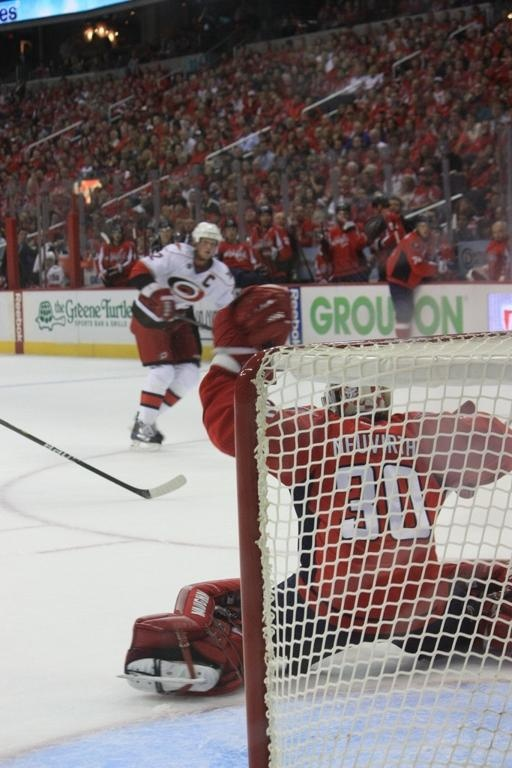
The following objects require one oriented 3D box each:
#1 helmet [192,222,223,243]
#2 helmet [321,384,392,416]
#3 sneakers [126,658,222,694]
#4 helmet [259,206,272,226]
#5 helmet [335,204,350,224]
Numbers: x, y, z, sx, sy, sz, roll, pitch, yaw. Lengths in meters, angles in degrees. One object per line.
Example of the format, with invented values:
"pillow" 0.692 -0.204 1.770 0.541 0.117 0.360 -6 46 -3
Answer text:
"helmet" -0.345 -1.054 6.306 0.213 0.183 0.252 0 13 -8
"helmet" 0.202 0.043 1.754 0.085 0.091 0.104 3 -5 -10
"sneakers" -0.178 0.603 1.888 0.143 0.051 0.098 1 -10 -2
"helmet" 0.102 -1.867 9.907 0.144 0.213 0.271 -2 10 1
"helmet" 0.886 -1.735 9.092 0.153 0.176 0.191 -1 -7 3
